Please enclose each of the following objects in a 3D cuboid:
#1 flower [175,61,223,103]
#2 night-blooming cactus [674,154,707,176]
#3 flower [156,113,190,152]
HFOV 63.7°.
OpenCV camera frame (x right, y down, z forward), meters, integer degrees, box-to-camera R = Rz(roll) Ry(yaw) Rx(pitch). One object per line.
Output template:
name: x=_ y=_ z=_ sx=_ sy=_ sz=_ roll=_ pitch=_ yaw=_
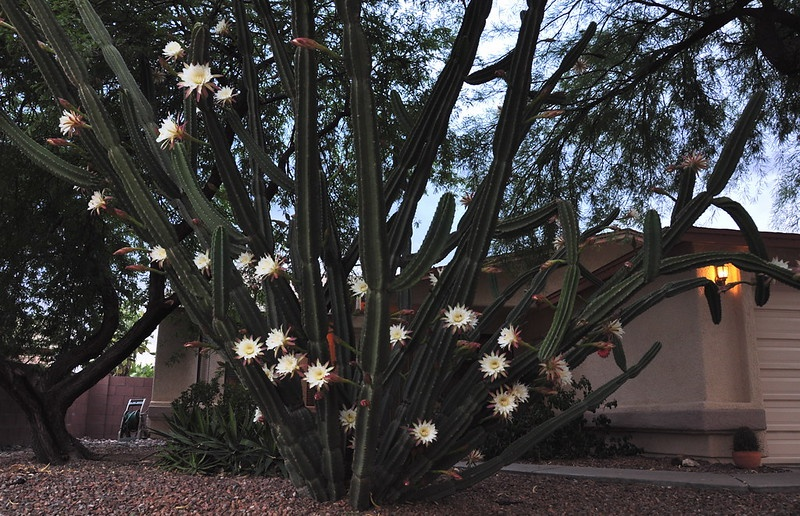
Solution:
flower: x=-1.391 y=-1.278 z=4.514 sx=0.264 sy=0.145 sz=0.239 roll=21 pitch=-8 yaw=-31
night-blooming cactus: x=2.183 y=-0.713 z=4.897 sx=0.250 sy=0.168 sz=0.269 roll=-5 pitch=7 yaw=-22
flower: x=-1.590 y=-0.926 z=4.699 sx=0.247 sy=0.273 sz=0.109 roll=-8 pitch=-31 yaw=42
